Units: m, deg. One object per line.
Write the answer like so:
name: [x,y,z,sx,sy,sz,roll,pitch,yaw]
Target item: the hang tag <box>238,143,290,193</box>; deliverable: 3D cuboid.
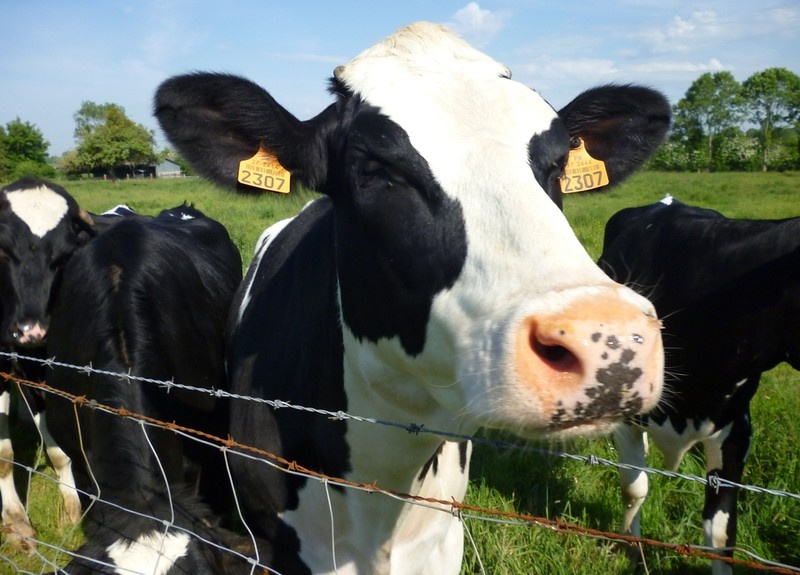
hang tag: [-0.862,-0.736,5.121,0.197,0.368,0.207,-1,21,22]
